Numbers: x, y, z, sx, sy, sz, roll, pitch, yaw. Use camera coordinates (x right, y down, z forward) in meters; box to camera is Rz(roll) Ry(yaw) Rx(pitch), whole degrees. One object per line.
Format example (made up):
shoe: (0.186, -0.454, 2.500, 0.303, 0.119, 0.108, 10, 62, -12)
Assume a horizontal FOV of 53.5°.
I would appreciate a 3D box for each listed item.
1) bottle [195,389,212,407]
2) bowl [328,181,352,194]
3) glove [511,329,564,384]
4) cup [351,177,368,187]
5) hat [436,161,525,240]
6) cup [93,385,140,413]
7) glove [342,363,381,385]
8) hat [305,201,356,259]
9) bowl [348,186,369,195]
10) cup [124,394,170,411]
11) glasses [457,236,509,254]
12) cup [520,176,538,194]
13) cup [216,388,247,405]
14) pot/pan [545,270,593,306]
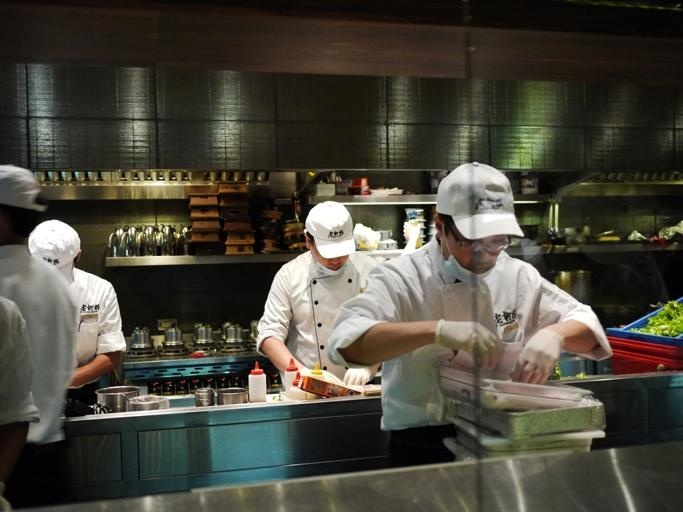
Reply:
bottle: (-0.448, 0.453, 2.182, 0.061, 0.065, 0.061, 1, 1, 3)
bowl: (-0.011, -0.461, 4.597, 0.093, 0.091, 0.130, 1, -1, 14)
glove: (0.469, 0.234, 1.618, 0.091, 0.039, 0.129, 13, 57, 31)
cup: (0.125, -0.509, 4.656, 0.120, 0.080, 0.062, 3, 6, 12)
hat: (0.287, -0.120, 1.440, 0.127, 0.107, 0.197, -2, 13, -14)
cup: (-0.731, 0.460, 2.206, 0.100, 0.071, 0.085, 1, -2, -32)
glove: (0.068, 0.439, 2.671, 0.086, 0.077, 0.285, -13, -1, 7)
hat: (-0.052, -0.114, 3.021, 0.181, 0.129, 0.253, -5, 47, -11)
bowl: (0.113, -0.445, 4.630, 0.090, 0.031, 0.065, 1, 0, -23)
cup: (-0.614, 0.468, 2.164, 0.076, 0.066, 0.079, 2, -3, 0)
glasses: (0.297, -0.021, 1.419, 0.099, 0.040, 0.096, -4, 6, 0)
cup: (0.492, -0.190, 1.800, 0.055, 0.056, 0.054, 0, -5, 0)
cup: (-0.350, 0.443, 2.158, 0.064, 0.039, 0.065, 1, -1, 0)
pot/pan: (0.598, 0.078, 1.825, 0.108, 0.120, 0.107, 1, -1, 0)
